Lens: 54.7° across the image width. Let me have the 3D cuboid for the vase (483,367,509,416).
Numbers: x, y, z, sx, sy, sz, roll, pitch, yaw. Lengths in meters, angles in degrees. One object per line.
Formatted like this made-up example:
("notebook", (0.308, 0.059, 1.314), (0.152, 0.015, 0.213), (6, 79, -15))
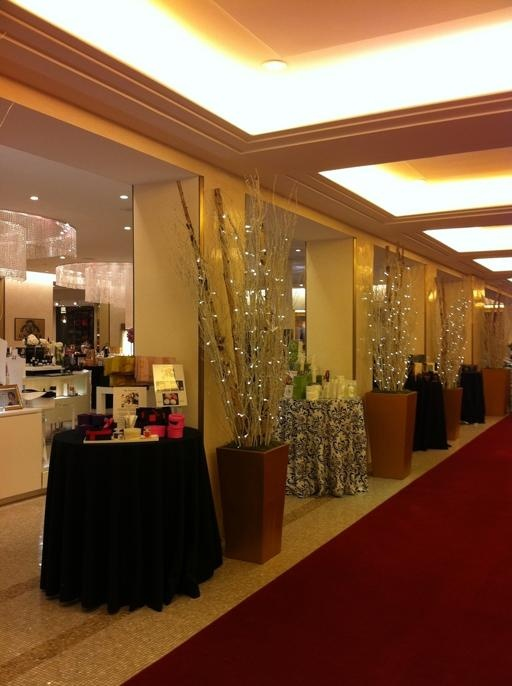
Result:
("vase", (5.280, 1.100, 10.838), (0.666, 1.033, 0.353), (-2, 2, -26))
